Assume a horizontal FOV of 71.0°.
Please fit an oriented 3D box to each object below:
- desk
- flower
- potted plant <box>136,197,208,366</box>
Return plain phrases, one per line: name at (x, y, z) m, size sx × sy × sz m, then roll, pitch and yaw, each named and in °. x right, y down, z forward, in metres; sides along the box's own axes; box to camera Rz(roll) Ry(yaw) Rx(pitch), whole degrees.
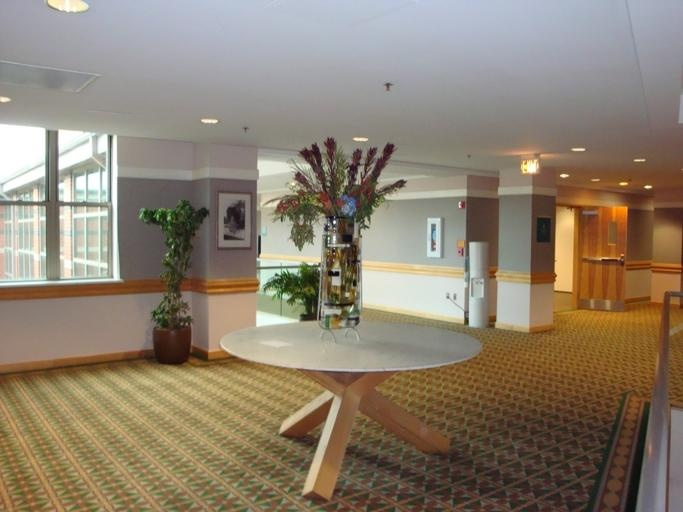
desk at (0.085, 1.191, 4.126) m, size 2.314 × 1.079 × 2.231 m, roll 0°, pitch -2°, yaw 8°
flower at (0.053, -0.430, 3.957) m, size 1.039 × 1.009 × 0.900 m, roll -8°, pitch 8°, yaw 20°
potted plant at (-2.368, 0.360, 6.803) m, size 0.842 × 2.293 × 0.743 m, roll -2°, pitch 5°, yaw -33°
